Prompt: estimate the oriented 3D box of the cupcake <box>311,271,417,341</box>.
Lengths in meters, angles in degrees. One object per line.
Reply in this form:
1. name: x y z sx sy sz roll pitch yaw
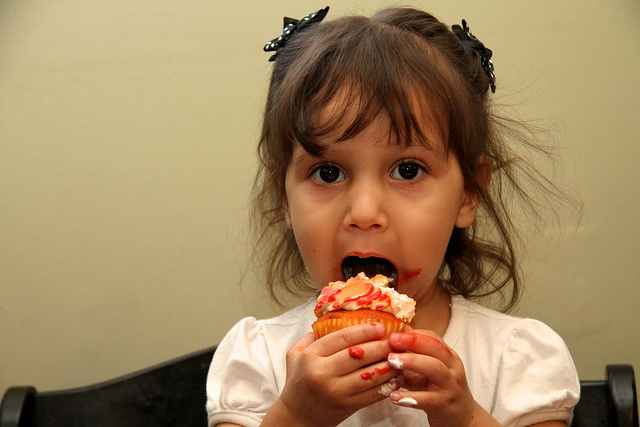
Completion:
1. cupcake: 0.142 0.305 2.288 0.260 0.191 0.230 -8 -8 9
